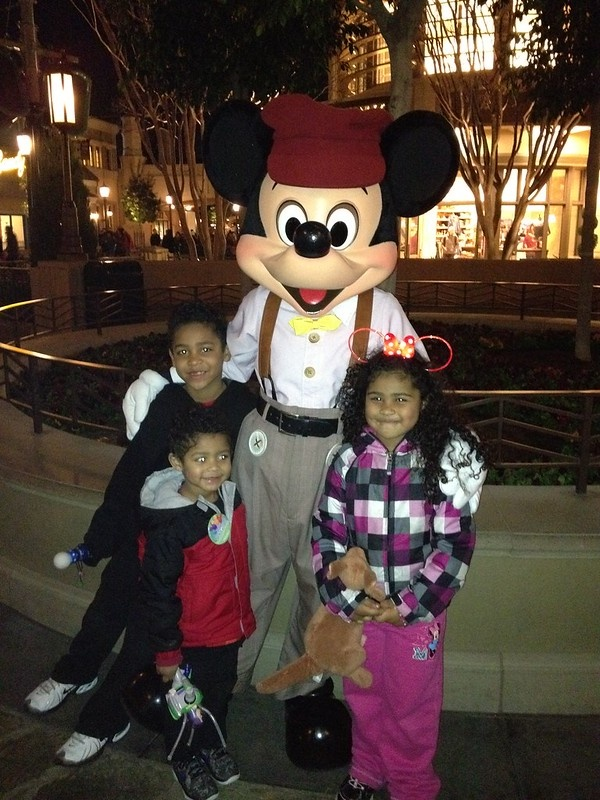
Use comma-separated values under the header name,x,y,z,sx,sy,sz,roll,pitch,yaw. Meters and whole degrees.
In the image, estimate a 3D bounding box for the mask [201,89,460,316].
name,x,y,z,sx,sy,sz,roll,pitch,yaw
mask,0.098,-0.696,2.294,0.733,0.764,0.756,-6,12,-37

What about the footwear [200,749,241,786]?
name,x,y,z,sx,sy,sz,roll,pitch,yaw
footwear,-0.276,1.208,2.065,0.066,0.074,0.188,5,-9,-43

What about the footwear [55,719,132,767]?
name,x,y,z,sx,sy,sz,roll,pitch,yaw
footwear,-0.720,1.187,2.185,0.091,0.104,0.250,22,1,24

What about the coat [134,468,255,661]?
name,x,y,z,sx,sy,sz,roll,pitch,yaw
coat,-0.307,0.541,1.968,0.379,0.596,0.338,-1,10,-14

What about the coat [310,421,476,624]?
name,x,y,z,sx,sy,sz,roll,pitch,yaw
coat,0.260,0.359,1.728,0.482,0.547,0.213,4,10,15

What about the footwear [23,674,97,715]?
name,x,y,z,sx,sy,sz,roll,pitch,yaw
footwear,-0.939,1.124,2.482,0.104,0.128,0.288,48,15,11

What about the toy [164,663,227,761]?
name,x,y,z,sx,sy,sz,roll,pitch,yaw
toy,-0.322,0.977,2.008,0.254,0.313,0.135,17,-32,-35

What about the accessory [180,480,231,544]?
name,x,y,z,sx,sy,sz,roll,pitch,yaw
accessory,-0.296,0.353,1.911,0.063,0.227,0.201,-2,5,28
